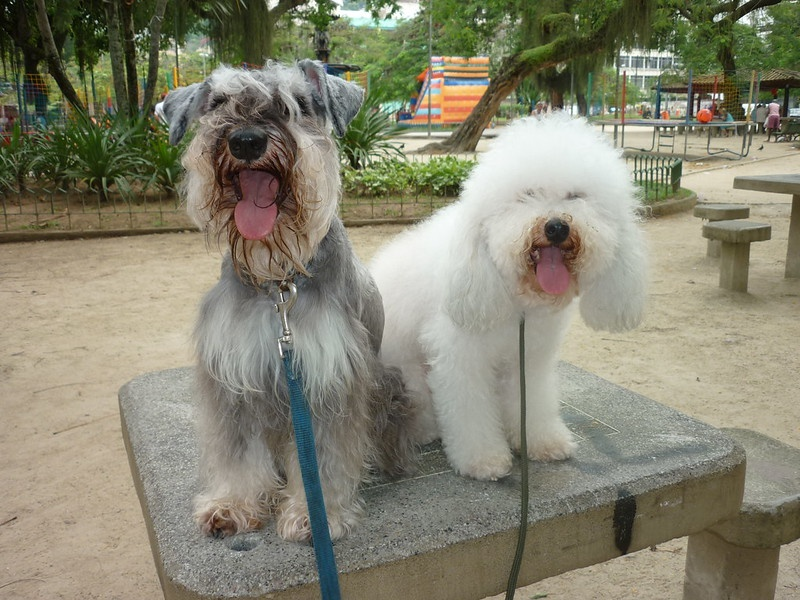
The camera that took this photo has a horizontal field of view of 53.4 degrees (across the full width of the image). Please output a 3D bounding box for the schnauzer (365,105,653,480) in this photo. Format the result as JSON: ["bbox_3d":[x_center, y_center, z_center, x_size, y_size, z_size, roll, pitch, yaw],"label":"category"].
[{"bbox_3d":[0.510,-0.013,4.618,1.004,1.963,1.841,-6,11,-27],"label":"schnauzer"}]

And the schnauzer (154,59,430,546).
[{"bbox_3d":[-0.576,-0.014,4.012,1.149,2.310,0.676,-4,13,-4],"label":"schnauzer"}]

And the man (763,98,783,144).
[{"bbox_3d":[14.606,-6.746,30.177,0.501,1.323,3.904,3,15,26],"label":"man"}]

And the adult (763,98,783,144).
[{"bbox_3d":[14.604,-6.746,30.179,0.496,1.323,3.904,3,15,26],"label":"adult"}]

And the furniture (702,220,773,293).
[{"bbox_3d":[3.795,-0.442,8.531,0.561,0.557,0.531,-10,7,5],"label":"furniture"}]
